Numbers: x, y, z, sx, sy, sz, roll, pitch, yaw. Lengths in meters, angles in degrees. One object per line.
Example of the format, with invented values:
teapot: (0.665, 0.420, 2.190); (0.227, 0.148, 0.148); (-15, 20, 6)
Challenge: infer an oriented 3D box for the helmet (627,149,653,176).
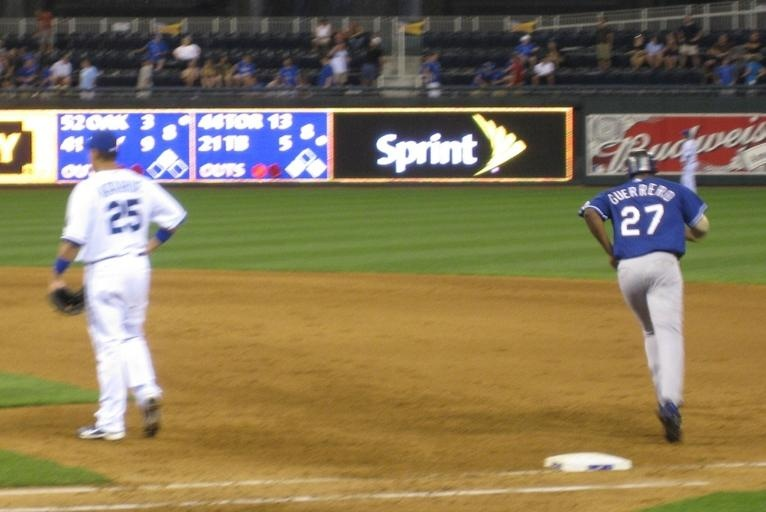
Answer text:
helmet: (4.412, -1.588, 32.059); (0.469, 0.379, 0.470); (-2, -10, 0)

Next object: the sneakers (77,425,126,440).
sneakers: (-4.761, 2.966, 31.764); (0.792, 0.254, 0.274); (6, 0, 0)

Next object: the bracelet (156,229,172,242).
bracelet: (-3.745, -0.365, 31.970); (0.274, 0.165, 0.237); (-1, -4, 8)
